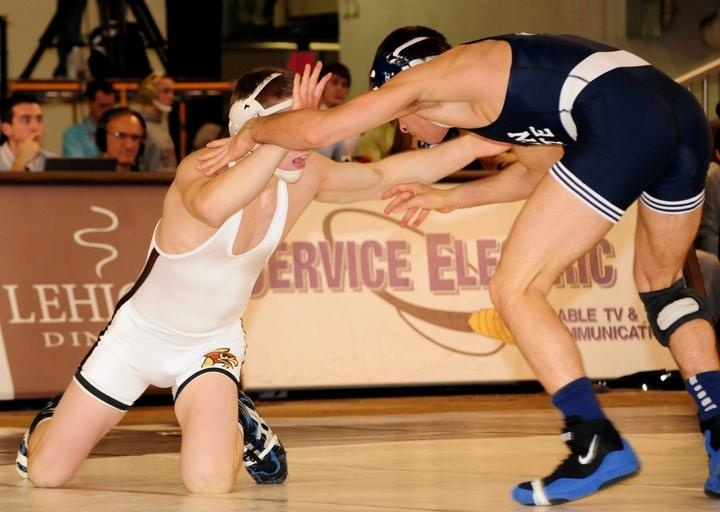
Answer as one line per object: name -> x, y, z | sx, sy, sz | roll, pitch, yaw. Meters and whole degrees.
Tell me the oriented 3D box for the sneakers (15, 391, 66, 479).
sneakers -> -1.444, 0.813, 3.472 | 0.116, 0.345, 0.149 | 18, -6, 27
